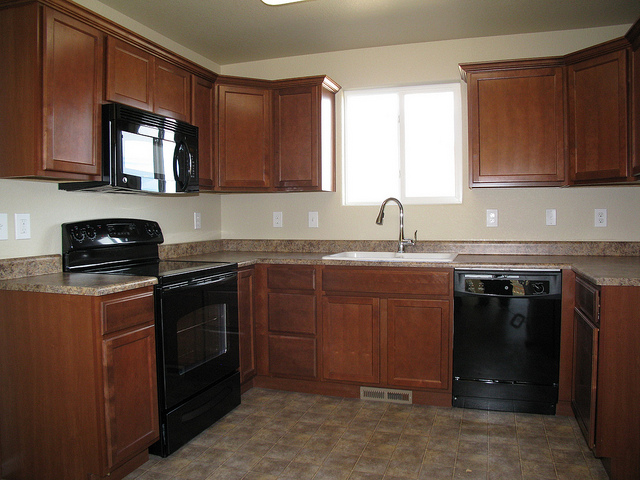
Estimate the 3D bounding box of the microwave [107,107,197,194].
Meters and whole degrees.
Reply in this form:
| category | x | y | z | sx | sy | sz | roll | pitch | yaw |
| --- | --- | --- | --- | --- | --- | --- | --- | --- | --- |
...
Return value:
| category | x | y | z | sx | sy | sz | roll | pitch | yaw |
| --- | --- | --- | --- | --- | --- | --- | --- | --- | --- |
| microwave | -1.223 | -0.593 | 3.361 | 0.366 | 0.516 | 0.748 | 1 | 2 | 28 |

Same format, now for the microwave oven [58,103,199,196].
| category | x | y | z | sx | sy | sz | roll | pitch | yaw |
| --- | --- | --- | --- | --- | --- | --- | --- | --- | --- |
| microwave oven | -1.282 | -0.610 | 3.402 | 0.451 | 0.535 | 0.863 | 5 | 5 | 25 |

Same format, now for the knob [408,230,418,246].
| category | x | y | z | sx | sy | sz | roll | pitch | yaw |
| --- | --- | --- | --- | --- | --- | --- | --- | --- | --- |
| knob | 0.772 | -0.014 | 4.009 | 0.073 | 0.132 | 0.189 | 1 | 9 | 11 |

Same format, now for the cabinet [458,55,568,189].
| category | x | y | z | sx | sy | sz | roll | pitch | yaw |
| --- | --- | --- | --- | --- | --- | --- | --- | --- | --- |
| cabinet | 1.502 | -0.844 | 3.764 | 0.756 | 1.090 | 0.519 | -1 | -12 | 13 |

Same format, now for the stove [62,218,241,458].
| category | x | y | z | sx | sy | sz | roll | pitch | yaw |
| --- | --- | --- | --- | --- | --- | --- | --- | --- | --- |
| stove | -1.109 | 0.571 | 3.293 | 0.769 | 1.456 | 0.991 | 0 | 5 | 12 |

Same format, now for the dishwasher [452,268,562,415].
| category | x | y | z | sx | sy | sz | roll | pitch | yaw |
| --- | --- | --- | --- | --- | --- | --- | --- | --- | --- |
| dishwasher | 1.321 | 0.691 | 3.787 | 0.881 | 1.405 | 0.889 | 1 | 1 | 11 |
